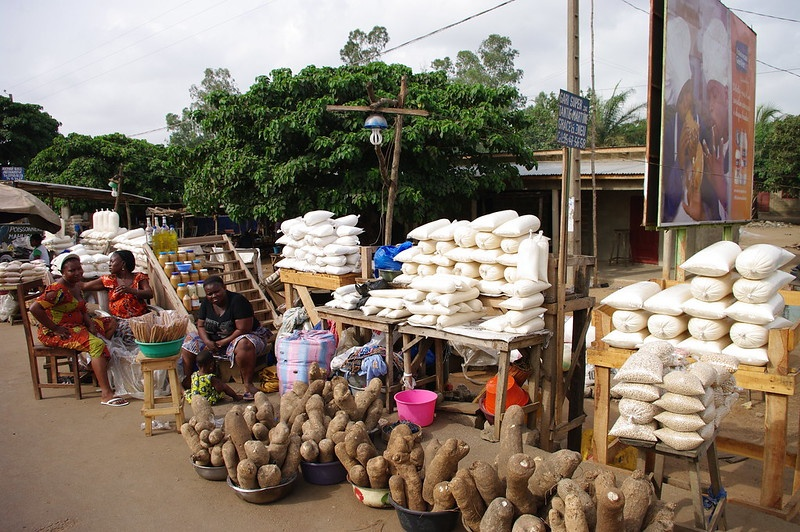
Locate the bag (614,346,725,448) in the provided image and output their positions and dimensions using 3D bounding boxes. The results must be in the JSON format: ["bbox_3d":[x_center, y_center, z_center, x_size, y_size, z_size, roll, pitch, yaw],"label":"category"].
[{"bbox_3d":[2.734,1.259,5.996,0.770,0.533,1.024,3,4,28],"label":"bag"}]

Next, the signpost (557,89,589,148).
[{"bbox_3d":[2.122,-1.812,7.306,0.343,0.723,0.804,1,7,38],"label":"signpost"}]

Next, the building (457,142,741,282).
[{"bbox_3d":[5.901,-1.883,18.660,5.537,3.265,4.819,2,4,42],"label":"building"}]

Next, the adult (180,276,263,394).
[{"bbox_3d":[-2.491,0.943,8.612,1.143,1.635,1.224,2,11,22],"label":"adult"}]

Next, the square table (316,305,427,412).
[{"bbox_3d":[-0.313,1.362,8.081,1.505,1.203,1.249,-4,-5,42],"label":"square table"}]

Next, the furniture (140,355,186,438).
[{"bbox_3d":[-3.058,1.619,7.638,0.562,1.021,0.479,-3,6,5],"label":"furniture"}]

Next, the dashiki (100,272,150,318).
[{"bbox_3d":[-4.180,0.441,9.066,0.652,0.656,0.372,-2,-3,-16],"label":"dashiki"}]

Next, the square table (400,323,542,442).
[{"bbox_3d":[0.906,1.044,7.352,2.047,1.517,1.188,-1,-1,44],"label":"square table"}]

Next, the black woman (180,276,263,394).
[{"bbox_3d":[-2.534,0.929,8.667,1.100,1.624,1.167,2,12,15],"label":"black woman"}]

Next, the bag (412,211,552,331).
[{"bbox_3d":[0.959,0.073,7.309,1.689,1.443,0.736,-1,6,28],"label":"bag"}]

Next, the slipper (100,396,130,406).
[{"bbox_3d":[-4.024,1.912,8.357,0.380,0.116,0.158,-3,5,13],"label":"slipper"}]

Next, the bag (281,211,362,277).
[{"bbox_3d":[-1.259,-0.316,9.447,0.582,0.599,1.145,-21,8,-36],"label":"bag"}]

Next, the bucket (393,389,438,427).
[{"bbox_3d":[0.189,1.785,7.484,0.430,0.255,0.442,-5,-7,-1],"label":"bucket"}]

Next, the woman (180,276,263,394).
[{"bbox_3d":[-2.575,0.936,8.698,1.123,1.645,1.190,-1,11,4],"label":"woman"}]
